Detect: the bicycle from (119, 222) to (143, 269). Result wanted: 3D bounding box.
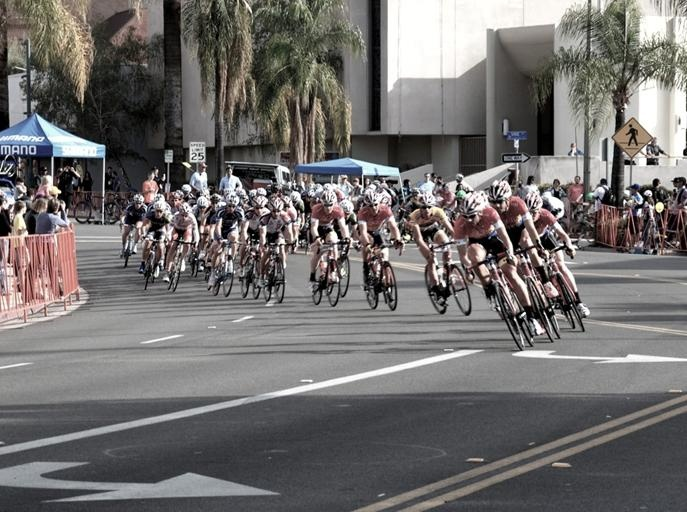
[{"bbox_3d":[-5.536,-0.202,29.038,0.735,1.031,1.601,11,2,-12],"label":"bicycle"}]

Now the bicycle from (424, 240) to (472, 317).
[{"bbox_3d":[1.843,0.468,19.497,0.563,0.993,1.410,-10,2,-17],"label":"bicycle"}]

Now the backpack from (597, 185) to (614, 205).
[{"bbox_3d":[7.668,-1.730,33.066,0.518,0.600,0.375,-7,1,17],"label":"backpack"}]

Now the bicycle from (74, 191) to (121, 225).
[{"bbox_3d":[-9.346,-1.800,43.115,2.194,1.512,1.186,0,1,15],"label":"bicycle"}]

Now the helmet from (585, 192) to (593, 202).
[{"bbox_3d":[7.734,-1.840,35.871,0.262,0.272,0.461,10,-5,6],"label":"helmet"}]

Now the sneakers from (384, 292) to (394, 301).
[{"bbox_3d":[0.828,0.703,19.883,0.147,0.153,0.259,2,4,38],"label":"sneakers"}]

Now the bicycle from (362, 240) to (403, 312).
[{"bbox_3d":[0.648,0.357,19.988,0.558,1.145,1.208,0,3,-4],"label":"bicycle"}]

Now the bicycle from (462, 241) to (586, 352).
[{"bbox_3d":[2.761,0.676,16.653,0.974,1.251,1.949,-28,-3,8],"label":"bicycle"}]

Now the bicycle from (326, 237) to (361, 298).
[{"bbox_3d":[-0.120,0.250,21.242,0.373,1.007,1.529,12,-6,-15],"label":"bicycle"}]
